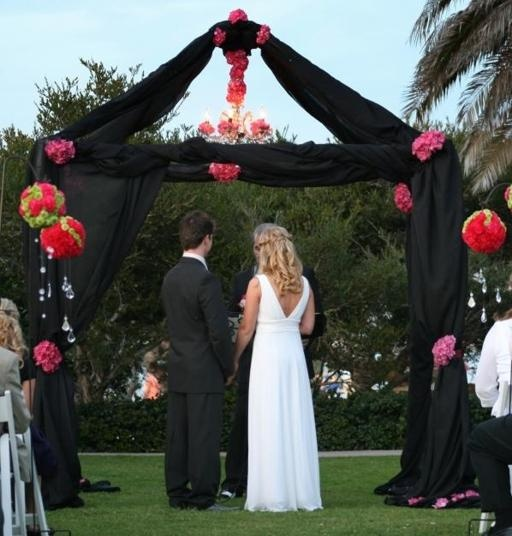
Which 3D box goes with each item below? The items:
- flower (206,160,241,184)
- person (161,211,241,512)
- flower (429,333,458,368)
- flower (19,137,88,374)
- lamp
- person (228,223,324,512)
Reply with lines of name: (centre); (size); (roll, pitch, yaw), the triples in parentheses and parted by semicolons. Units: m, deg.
flower: (-0.365, -1.019, 15.084); (0.230, 0.235, 0.440); (7, -13, -44)
person: (-0.630, 0.975, 14.402); (0.781, 3.064, 0.528); (-3, -8, 10)
flower: (1.996, 0.914, 14.881); (0.330, 0.340, 0.188); (-10, -12, 42)
flower: (-2.138, -0.153, 14.663); (0.672, 2.473, 0.880); (-1, -8, -7)
lamp: (-0.234, -2.069, 15.307); (0.830, 1.571, 0.456); (-2, -8, 0)
person: (0.221, 1.060, 14.378); (0.807, 2.919, 0.348); (-2, -8, -1)
